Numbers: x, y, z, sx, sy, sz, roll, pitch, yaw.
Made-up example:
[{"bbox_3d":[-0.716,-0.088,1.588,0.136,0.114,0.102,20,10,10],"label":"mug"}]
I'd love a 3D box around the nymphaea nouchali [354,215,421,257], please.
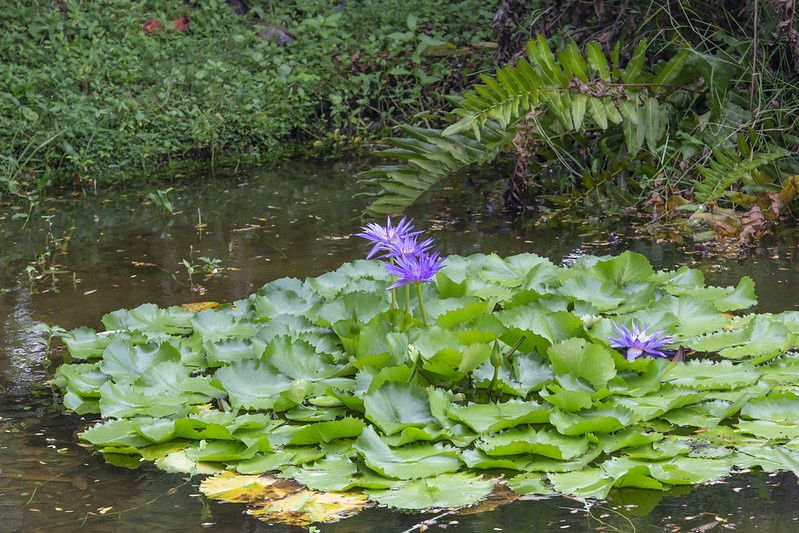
[{"bbox_3d":[-0.048,-0.169,4.580,0.352,0.085,0.307,-9,-12,-9],"label":"nymphaea nouchali"}]

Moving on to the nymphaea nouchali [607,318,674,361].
[{"bbox_3d":[1.126,0.350,4.409,0.240,0.076,0.235,23,23,31],"label":"nymphaea nouchali"}]

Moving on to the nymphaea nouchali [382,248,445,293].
[{"bbox_3d":[0.080,0.048,4.422,0.273,0.223,0.088,-20,53,20],"label":"nymphaea nouchali"}]
